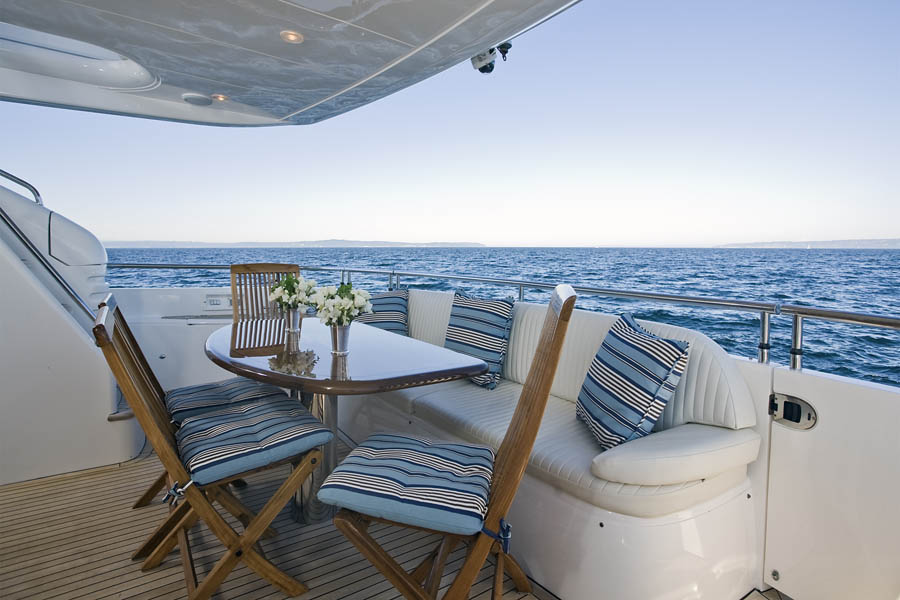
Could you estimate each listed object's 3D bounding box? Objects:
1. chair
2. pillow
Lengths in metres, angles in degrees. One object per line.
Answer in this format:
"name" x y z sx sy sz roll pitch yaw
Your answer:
"chair" -0.635 0.733 2.846 2.050 1.359 1.283 6 4 37
"pillow" 0.914 0.444 2.707 0.354 0.494 0.570 -4 25 -15
